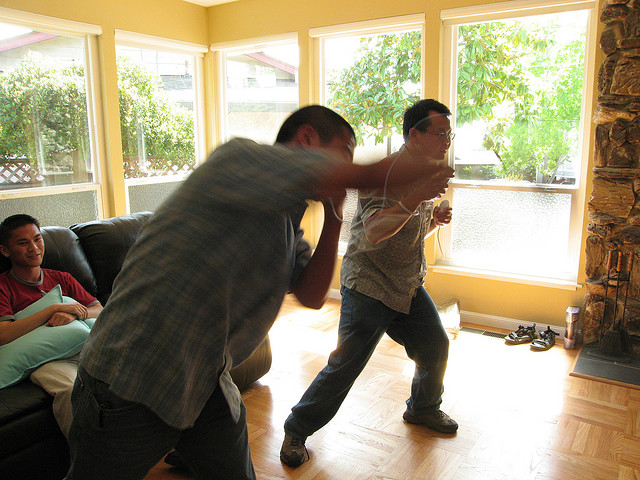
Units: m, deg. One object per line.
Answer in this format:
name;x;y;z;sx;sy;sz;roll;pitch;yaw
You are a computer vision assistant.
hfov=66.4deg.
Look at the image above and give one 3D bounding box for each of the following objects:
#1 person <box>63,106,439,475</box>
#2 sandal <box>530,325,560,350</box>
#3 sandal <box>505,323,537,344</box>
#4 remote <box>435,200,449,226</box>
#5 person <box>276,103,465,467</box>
person;-0.236;0.144;1.320;0.924;0.983;0.301;0;14;2
sandal;1.744;0.779;3.784;0.103;0.113;0.272;-4;-8;39
sandal;1.618;0.744;3.901;0.312;0.131;0.104;-3;3;-23
remote;0.658;-0.148;2.596;0.029;0.121;0.066;13;1;-32
person;0.337;0.235;2.436;1.031;1.756;0.763;-2;6;-20
